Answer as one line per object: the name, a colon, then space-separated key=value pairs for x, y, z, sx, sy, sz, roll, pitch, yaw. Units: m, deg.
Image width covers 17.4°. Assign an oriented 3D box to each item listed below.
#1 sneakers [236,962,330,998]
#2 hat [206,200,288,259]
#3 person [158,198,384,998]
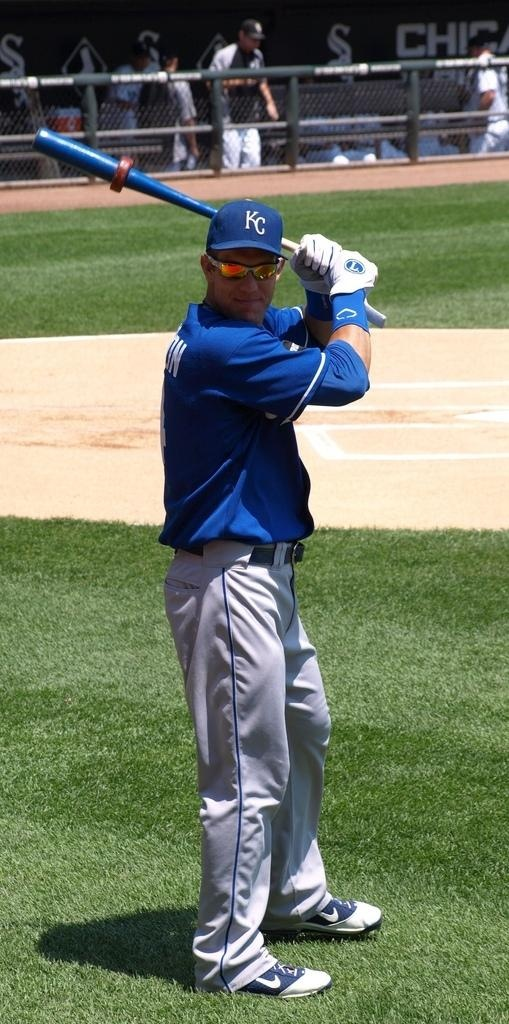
sneakers: x=0.066 y=1.040 z=3.682 sx=0.199 sy=0.095 sz=0.081 roll=-1 pitch=13 yaw=-4
hat: x=-0.015 y=-0.625 z=3.639 sx=0.104 sy=0.094 sz=0.149 roll=2 pitch=9 yaw=-7
person: x=0.030 y=0.176 z=3.767 sx=0.433 sy=1.729 sz=0.662 roll=7 pitch=15 yaw=36
